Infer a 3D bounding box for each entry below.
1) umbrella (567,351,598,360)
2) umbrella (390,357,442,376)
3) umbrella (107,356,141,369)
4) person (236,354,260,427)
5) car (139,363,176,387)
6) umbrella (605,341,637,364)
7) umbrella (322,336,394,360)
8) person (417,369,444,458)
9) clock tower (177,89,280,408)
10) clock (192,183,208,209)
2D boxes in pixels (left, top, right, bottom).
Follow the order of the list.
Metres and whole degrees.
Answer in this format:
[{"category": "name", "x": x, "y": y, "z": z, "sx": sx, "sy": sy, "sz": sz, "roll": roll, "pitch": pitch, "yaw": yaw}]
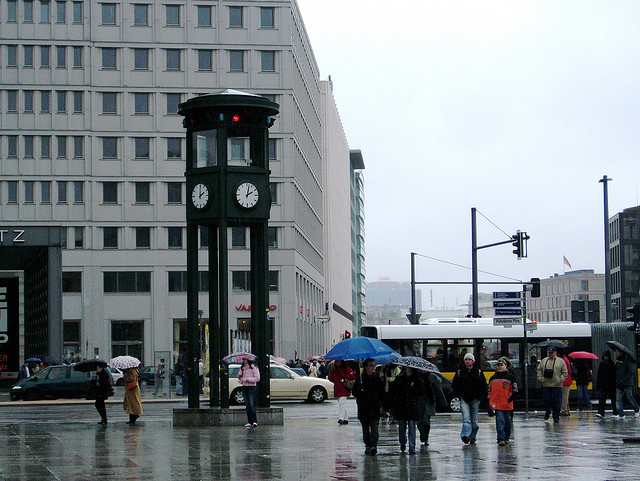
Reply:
[{"category": "umbrella", "x": 10.281, "y": 4.494, "z": 50.145, "sx": 1.028, "sy": 0.341, "sz": 0.968, "roll": -4, "pitch": -11, "yaw": 14}, {"category": "umbrella", "x": 2.858, "y": 3.667, "z": 38.135, "sx": 0.818, "sy": 0.470, "sz": 2.222, "roll": -8, "pitch": -13, "yaw": 32}, {"category": "umbrella", "x": -6.926, "y": 4.356, "z": 45.540, "sx": 0.969, "sy": 0.481, "sz": 1.169, "roll": -1, "pitch": -11, "yaw": -6}, {"category": "person", "x": -2.418, "y": 5.145, "z": 43.834, "sx": 0.723, "sy": 2.488, "sz": 0.624, "roll": -3, "pitch": -3, "yaw": 14}, {"category": "car", "x": -10.558, "y": 8.877, "z": 83.311, "sx": 2.344, "sy": 1.336, "sz": 1.402, "roll": -2, "pitch": -2, "yaw": -5}, {"category": "umbrella", "x": 11.111, "y": 4.118, "z": 46.783, "sx": 1.045, "sy": 0.864, "sz": 0.679, "roll": -7, "pitch": -11, "yaw": 28}, {"category": "umbrella", "x": 1.406, "y": 3.826, "z": 45.178, "sx": 1.740, "sy": 0.946, "sz": 1.393, "roll": -12, "pitch": -14, "yaw": 33}, {"category": "person", "x": 3.352, "y": 5.325, "z": 39.814, "sx": 0.720, "sy": 2.491, "sz": 0.570, "roll": 1, "pitch": -8, "yaw": 11}, {"category": "clock tower", "x": -3.208, "y": 0.252, "z": 45.085, "sx": 2.968, "sy": 11.179, "sz": 1.825, "roll": 0, "pitch": -9, "yaw": -6}, {"category": "clock", "x": -4.192, "y": -1.532, "z": 45.181, "sx": 0.763, "sy": 0.868, "sz": 0.066, "roll": -2, "pitch": -5, "yaw": 42}]
